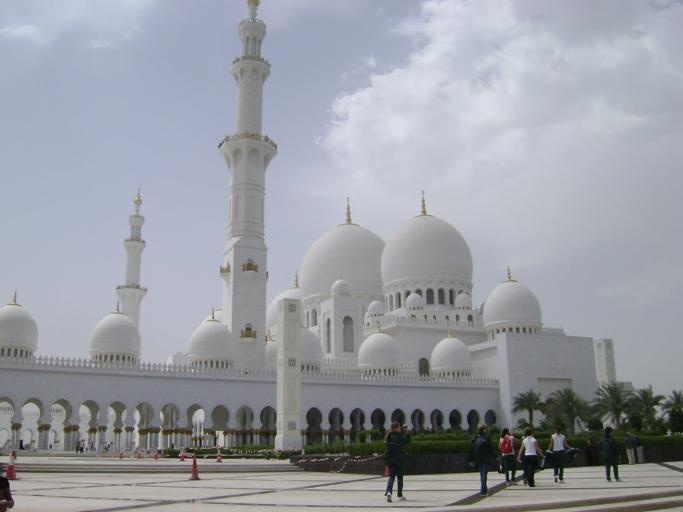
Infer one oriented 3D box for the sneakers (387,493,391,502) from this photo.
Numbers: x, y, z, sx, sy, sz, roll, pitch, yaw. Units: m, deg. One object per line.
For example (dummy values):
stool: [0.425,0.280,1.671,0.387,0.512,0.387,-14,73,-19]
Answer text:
sneakers: [1.386,7.057,27.810,0.083,0.251,0.105,-2,30,9]
